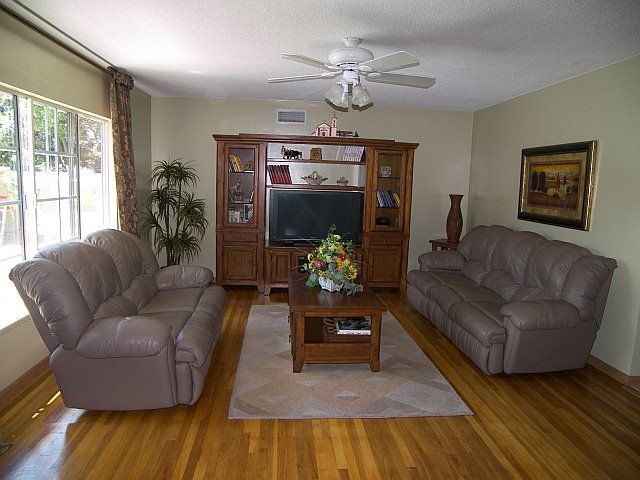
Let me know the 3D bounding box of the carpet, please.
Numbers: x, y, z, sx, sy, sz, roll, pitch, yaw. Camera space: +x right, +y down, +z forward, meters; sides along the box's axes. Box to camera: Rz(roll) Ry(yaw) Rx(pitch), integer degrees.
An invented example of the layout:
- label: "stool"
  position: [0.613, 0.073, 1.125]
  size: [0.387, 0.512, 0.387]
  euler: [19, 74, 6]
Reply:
- label: "carpet"
  position: [0.201, 1.231, 4.474]
  size: [2.009, 0.160, 1.808]
  euler: [0, 9, -4]

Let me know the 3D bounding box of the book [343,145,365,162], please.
- label: "book"
  position: [0.488, -1.260, 6.602]
  size: [0.252, 0.238, 0.058]
  euler: [6, 11, 4]

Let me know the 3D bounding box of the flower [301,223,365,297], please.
- label: "flower"
  position: [0.212, 0.168, 4.773]
  size: [0.711, 0.737, 0.640]
  euler: [-10, 18, -40]

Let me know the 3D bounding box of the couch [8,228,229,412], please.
- label: "couch"
  position: [-1.658, 0.646, 4.016]
  size: [1.396, 1.315, 1.344]
  euler: [0, 10, -4]

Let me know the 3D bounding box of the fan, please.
- label: "fan"
  position: [0.377, -1.547, 4.314]
  size: [1.267, 0.586, 1.667]
  euler: [2, 10, 6]

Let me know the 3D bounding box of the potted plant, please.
- label: "potted plant"
  position: [-2.181, -0.236, 6.507]
  size: [0.981, 1.706, 0.736]
  euler: [10, 6, 22]

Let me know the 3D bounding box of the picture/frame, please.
- label: "picture/frame"
  position: [2.691, -0.627, 5.180]
  size: [0.908, 0.887, 0.039]
  euler: [0, 8, -11]

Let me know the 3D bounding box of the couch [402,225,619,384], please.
- label: "couch"
  position: [1.986, 0.533, 5.253]
  size: [1.225, 1.204, 2.332]
  euler: [-5, 13, -10]

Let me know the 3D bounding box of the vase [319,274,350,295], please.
- label: "vase"
  position: [0.120, 0.458, 4.516]
  size: [0.212, 0.114, 0.157]
  euler: [5, -2, -26]

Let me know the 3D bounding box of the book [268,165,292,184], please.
- label: "book"
  position: [-0.607, -0.961, 6.602]
  size: [0.307, 0.285, 0.098]
  euler: [-2, -3, -11]

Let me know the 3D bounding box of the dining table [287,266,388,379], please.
- label: "dining table"
  position: [0.098, 0.853, 4.950]
  size: [0.972, 0.659, 1.600]
  euler: [-1, 4, -4]
